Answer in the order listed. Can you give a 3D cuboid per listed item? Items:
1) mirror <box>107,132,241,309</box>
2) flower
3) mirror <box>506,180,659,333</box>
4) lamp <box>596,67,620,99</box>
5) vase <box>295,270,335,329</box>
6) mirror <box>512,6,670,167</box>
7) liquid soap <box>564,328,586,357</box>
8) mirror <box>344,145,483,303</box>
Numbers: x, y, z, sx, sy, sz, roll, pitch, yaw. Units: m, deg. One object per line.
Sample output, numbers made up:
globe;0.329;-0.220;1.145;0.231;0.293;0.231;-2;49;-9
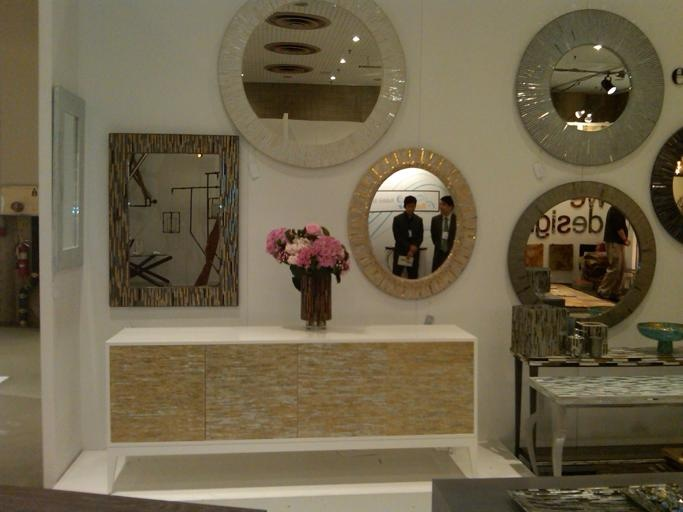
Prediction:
mirror;-1.308;-0.284;4.822;0.967;1.469;0.067;0;-21;-16
flower;-0.169;0.091;4.700;0.723;0.555;0.707;0;1;-21
mirror;1.990;0.027;5.187;1.185;1.420;0.047;1;26;20
lamp;2.169;-1.393;5.031;0.150;0.211;0.173;-6;13;-34
vase;-0.188;0.314;4.546;0.305;0.547;0.333;1;4;8
mirror;2.061;-1.395;5.517;1.117;1.293;1.224;0;10;5
liquid soap;1.759;0.644;4.658;0.143;0.165;0.213;6;13;23
mirror;0.516;-0.275;4.931;0.994;1.359;0.063;4;1;-10
